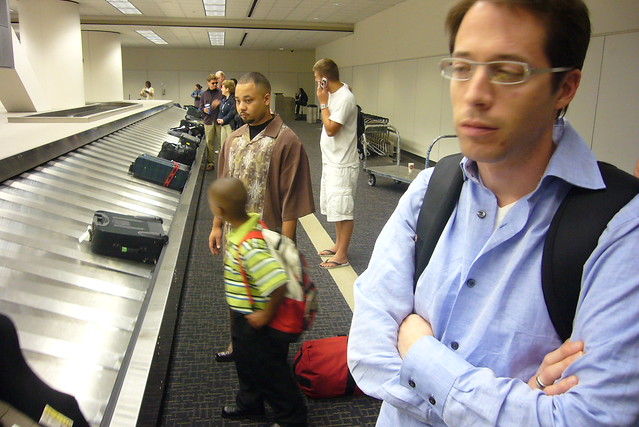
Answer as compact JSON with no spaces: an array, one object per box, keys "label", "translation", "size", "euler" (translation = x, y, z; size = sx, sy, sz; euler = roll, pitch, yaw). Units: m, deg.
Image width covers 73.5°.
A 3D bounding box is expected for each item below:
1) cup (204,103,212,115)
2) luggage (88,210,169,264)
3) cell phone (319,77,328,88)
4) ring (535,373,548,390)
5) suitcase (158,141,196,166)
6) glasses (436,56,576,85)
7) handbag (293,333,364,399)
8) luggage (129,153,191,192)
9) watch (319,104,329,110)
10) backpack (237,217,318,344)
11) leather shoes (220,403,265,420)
[{"label":"cup","translation":[-2.286,-2.116,8.709],"size":[0.150,0.192,0.071],"euler":[2,-5,8]},{"label":"luggage","translation":[-1.166,0.136,2.604],"size":[0.433,0.202,0.311],"euler":[9,24,-29]},{"label":"cell phone","translation":[0.041,-1.294,4.238],"size":[0.067,0.089,0.030],"euler":[2,13,3]},{"label":"ring","translation":[0.508,0.386,0.973],"size":[0.019,0.025,0.010],"euler":[-30,-6,28]},{"label":"suitcase","translation":[-1.614,-0.666,4.961],"size":[0.435,0.273,0.392],"euler":[13,0,-9]},{"label":"glasses","translation":[0.446,-0.328,1.003],"size":[0.266,0.061,0.089],"euler":[8,16,20]},{"label":"handbag","translation":[0.048,0.976,2.807],"size":[0.579,0.326,0.290],"euler":[-3,7,-3]},{"label":"luggage","translation":[-1.611,-0.418,4.310],"size":[0.491,0.167,0.355],"euler":[17,26,-15]},{"label":"watch","translation":[0.042,-1.086,4.345],"size":[0.078,0.048,0.074],"euler":[1,6,9]},{"label":"backpack","translation":[-0.215,0.364,2.199],"size":[0.393,0.587,0.219],"euler":[4,17,6]},{"label":"leather shoes","translation":[-0.449,1.171,2.550],"size":[0.279,0.118,0.090],"euler":[8,12,-7]}]
